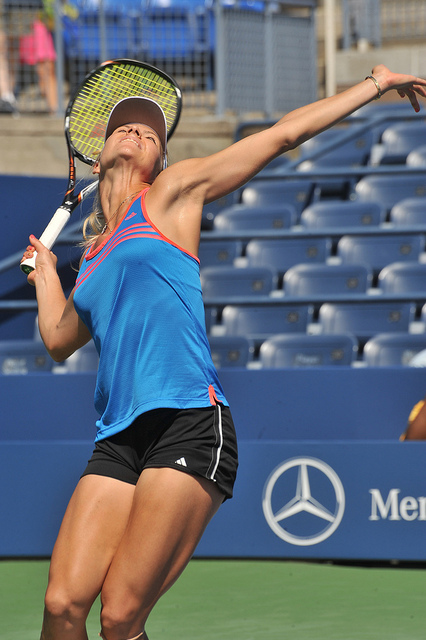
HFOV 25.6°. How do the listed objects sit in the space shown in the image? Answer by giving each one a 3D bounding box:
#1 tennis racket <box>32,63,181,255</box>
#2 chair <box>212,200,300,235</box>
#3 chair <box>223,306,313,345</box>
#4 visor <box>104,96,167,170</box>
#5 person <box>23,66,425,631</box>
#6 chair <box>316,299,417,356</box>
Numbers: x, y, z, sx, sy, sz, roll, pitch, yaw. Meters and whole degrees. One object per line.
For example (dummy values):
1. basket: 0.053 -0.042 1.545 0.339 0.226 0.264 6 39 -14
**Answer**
1. tennis racket: -0.407 -0.542 2.927 0.339 0.754 0.060 16 -22 20
2. chair: 0.309 -0.686 6.352 0.635 0.189 0.253 -2 -2 21
3. chair: 0.295 0.021 5.027 0.592 0.196 0.136 -2 19 38
4. visor: -0.203 -0.510 2.459 0.178 0.204 0.080 -1 39 -8
5. person: -0.140 0.077 2.310 0.519 1.193 0.807 10 17 41
6. chair: 0.781 0.109 4.828 0.542 0.324 0.263 -2 -9 16
